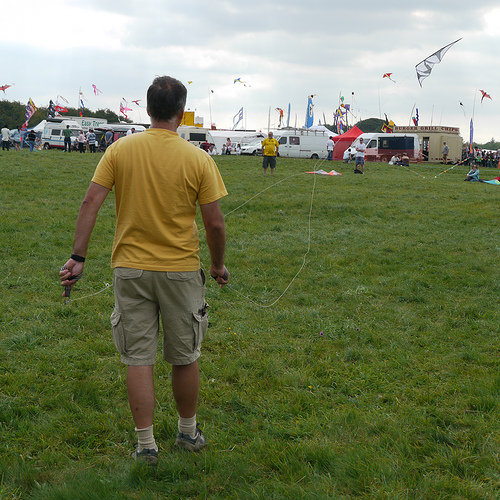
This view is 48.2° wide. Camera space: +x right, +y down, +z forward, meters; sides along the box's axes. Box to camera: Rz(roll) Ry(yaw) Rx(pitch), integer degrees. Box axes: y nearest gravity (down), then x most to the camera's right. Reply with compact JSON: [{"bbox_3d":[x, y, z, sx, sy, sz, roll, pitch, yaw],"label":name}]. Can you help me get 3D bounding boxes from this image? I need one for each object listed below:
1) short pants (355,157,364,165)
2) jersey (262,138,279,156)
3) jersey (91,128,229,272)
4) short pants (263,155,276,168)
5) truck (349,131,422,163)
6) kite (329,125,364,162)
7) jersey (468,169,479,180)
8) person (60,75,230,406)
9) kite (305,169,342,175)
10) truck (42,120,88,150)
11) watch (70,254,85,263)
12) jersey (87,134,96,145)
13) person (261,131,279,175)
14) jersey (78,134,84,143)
[{"bbox_3d":[4.142,-3.361,21.082,0.294,0.366,0.192,1,-6,-1],"label":"short pants"},{"bbox_3d":[0.638,-3.356,18.143,0.400,0.570,0.455,1,8,2],"label":"jersey"},{"bbox_3d":[-0.537,-0.340,3.253,0.705,0.862,0.448,0,27,-15],"label":"jersey"},{"bbox_3d":[0.644,-2.923,18.432,0.383,0.417,0.437,1,9,-3],"label":"short pants"},{"bbox_3d":[7.978,-6.016,32.066,3.681,2.350,2.450,2,9,5],"label":"truck"},{"bbox_3d":[5.594,-6.309,32.734,1.994,1.605,2.181,3,7,26],"label":"kite"},{"bbox_3d":[8.475,-2.874,21.158,0.335,0.391,0.525,5,10,25],"label":"jersey"},{"bbox_3d":[-0.550,-0.035,3.105,0.865,1.826,0.442,0,7,-4],"label":"person"},{"bbox_3d":[2.691,-2.790,20.047,1.177,0.126,1.713,4,10,14],"label":"kite"},{"bbox_3d":[-11.340,-7.000,34.311,2.966,2.053,1.750,9,10,31],"label":"truck"},{"bbox_3d":[-0.962,0.043,3.118,0.069,0.053,0.091,-2,10,-18],"label":"watch"},{"bbox_3d":[-7.776,-5.447,27.457,0.484,0.800,0.397,-1,0,-19],"label":"jersey"},{"bbox_3d":[0.645,-3.153,18.242,0.453,1.499,0.345,4,-11,2],"label":"person"},{"bbox_3d":[-8.096,-5.393,26.880,0.294,0.455,0.227,-12,26,-31],"label":"jersey"}]
